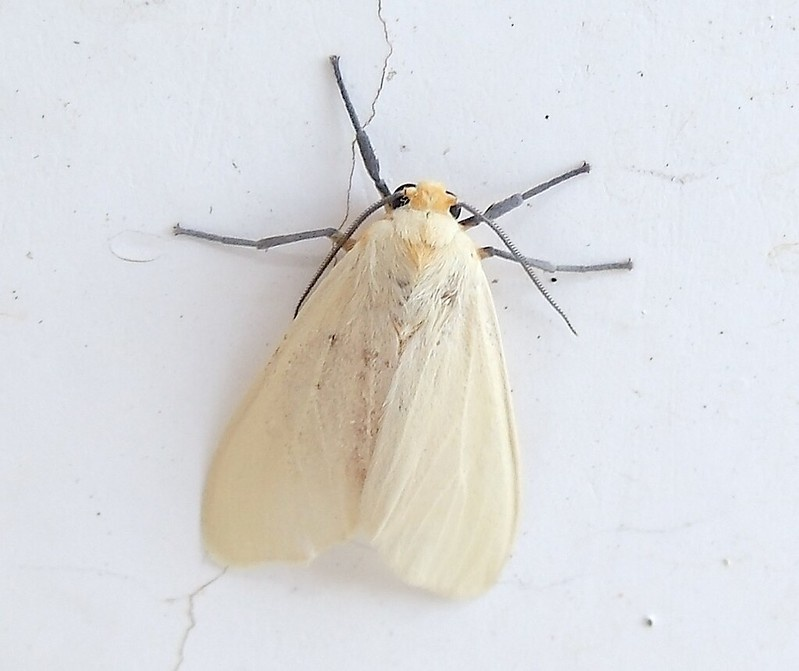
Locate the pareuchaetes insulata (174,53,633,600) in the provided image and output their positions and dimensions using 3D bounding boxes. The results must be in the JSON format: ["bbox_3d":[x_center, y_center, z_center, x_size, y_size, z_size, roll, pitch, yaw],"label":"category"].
[{"bbox_3d":[-0.034,-0.063,2.303,0.840,0.225,1.175,5,94,-1],"label":"pareuchaetes insulata"}]
